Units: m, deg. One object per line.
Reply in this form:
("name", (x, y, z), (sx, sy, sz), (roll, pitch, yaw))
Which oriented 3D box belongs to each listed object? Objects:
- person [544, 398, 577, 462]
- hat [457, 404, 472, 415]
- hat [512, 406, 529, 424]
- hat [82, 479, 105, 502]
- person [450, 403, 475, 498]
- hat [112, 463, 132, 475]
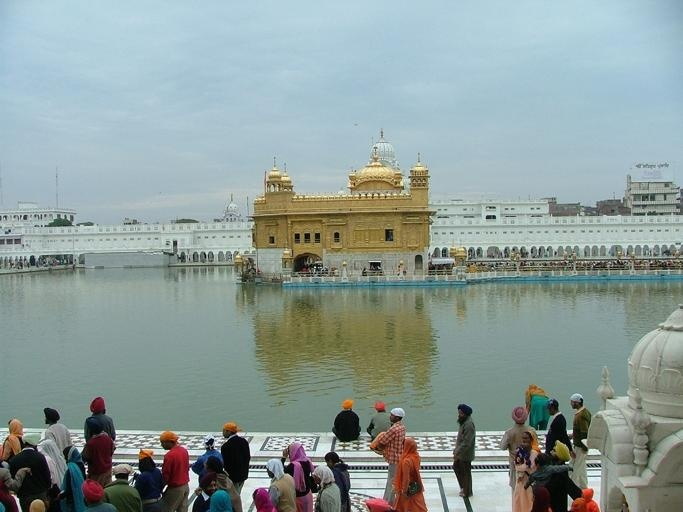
("person", (4.618, 3.673, 20.368), (0.597, 1.181, 2.351), (-2, -2, 13))
("hat", (2.664, 3.297, 20.452), (0.289, 0.125, 0.335), (31, 6, 28))
("hat", (3.710, 3.302, 19.942), (0.279, 0.342, 0.466), (-2, -2, 6))
("hat", (-4.570, 4.364, 17.783), (0.354, 0.431, 0.180), (-2, -2, -8))
("person", (2.597, 4.120, 20.353), (0.454, 1.927, 0.458), (-2, -2, 6))
("hat", (-4.185, 4.107, 18.507), (0.343, 0.177, 0.439), (-1, -2, -12))
